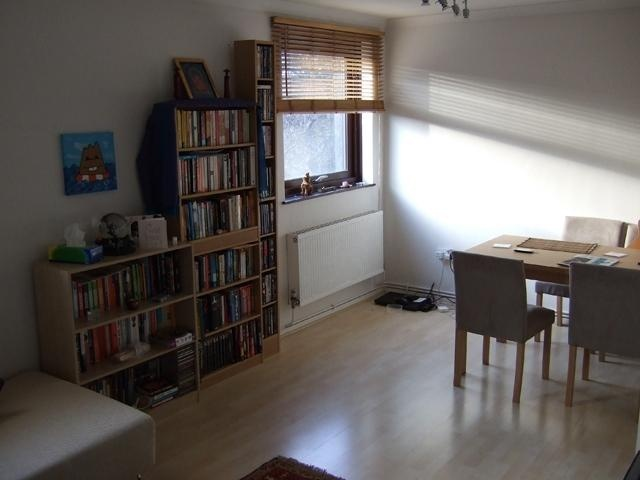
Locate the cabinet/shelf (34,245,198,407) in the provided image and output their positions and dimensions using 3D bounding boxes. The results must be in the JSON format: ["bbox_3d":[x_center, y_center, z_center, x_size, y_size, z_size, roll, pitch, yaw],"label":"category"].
[{"bbox_3d":[-1.471,0.597,3.401,0.366,1.295,1.011,2,8,25],"label":"cabinet/shelf"}]

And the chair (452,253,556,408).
[{"bbox_3d":[1.491,0.757,3.931,0.763,1.583,0.817,7,15,38],"label":"chair"}]

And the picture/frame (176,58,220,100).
[{"bbox_3d":[-1.006,-1.303,3.905,0.023,0.369,0.311,-13,24,33],"label":"picture/frame"}]
